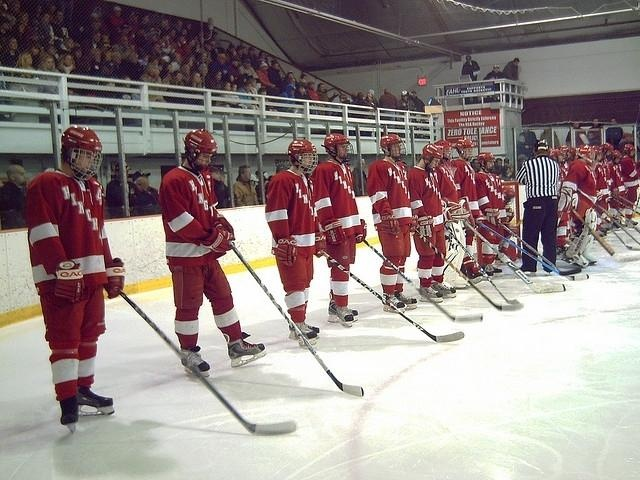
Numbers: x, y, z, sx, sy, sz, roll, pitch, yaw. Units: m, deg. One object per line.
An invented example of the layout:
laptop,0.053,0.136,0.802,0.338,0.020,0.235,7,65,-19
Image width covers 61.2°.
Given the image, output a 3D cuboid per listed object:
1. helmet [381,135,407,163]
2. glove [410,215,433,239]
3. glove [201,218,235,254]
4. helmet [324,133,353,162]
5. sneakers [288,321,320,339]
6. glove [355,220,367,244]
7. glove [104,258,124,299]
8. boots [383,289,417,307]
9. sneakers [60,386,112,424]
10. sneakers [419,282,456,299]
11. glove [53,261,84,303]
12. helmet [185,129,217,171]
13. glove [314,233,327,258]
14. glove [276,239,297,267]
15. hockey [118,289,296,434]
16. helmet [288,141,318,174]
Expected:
helmet,0.811,-1.050,6.221,0.233,0.315,0.539,-3,7,5
glove,1.163,-0.148,6.141,0.208,0.249,0.113,4,8,8
glove,-0.792,-0.016,4.310,0.209,0.302,0.314,-2,8,11
helmet,0.174,-0.944,5.562,0.236,0.291,0.338,-2,7,6
sneakers,-0.185,0.847,5.022,0.318,0.137,0.191,-3,5,11
glove,0.422,-0.092,5.637,0.161,0.209,0.084,-1,3,-8
glove,-1.472,0.281,3.869,0.189,0.250,0.090,4,0,-32
boots,0.818,0.660,6.047,0.497,0.214,0.162,-1,5,1
sneakers,-1.513,1.111,3.601,0.418,0.158,0.131,0,-3,-11
sneakers,1.384,0.602,6.396,0.532,0.219,0.173,0,4,-16
glove,-1.611,0.270,3.455,0.167,0.273,0.101,-8,9,-35
helmet,-0.961,-0.734,4.326,0.277,0.299,0.247,20,18,32
glove,-0.006,0.056,5.113,0.142,0.185,0.169,-6,-13,2
glove,-0.301,0.111,4.786,0.169,0.215,0.231,7,13,26
hockey,-0.910,0.997,4.353,1.514,0.157,0.212,33,1,37
helmet,-0.171,-0.790,5.089,0.320,0.296,0.245,10,14,19
